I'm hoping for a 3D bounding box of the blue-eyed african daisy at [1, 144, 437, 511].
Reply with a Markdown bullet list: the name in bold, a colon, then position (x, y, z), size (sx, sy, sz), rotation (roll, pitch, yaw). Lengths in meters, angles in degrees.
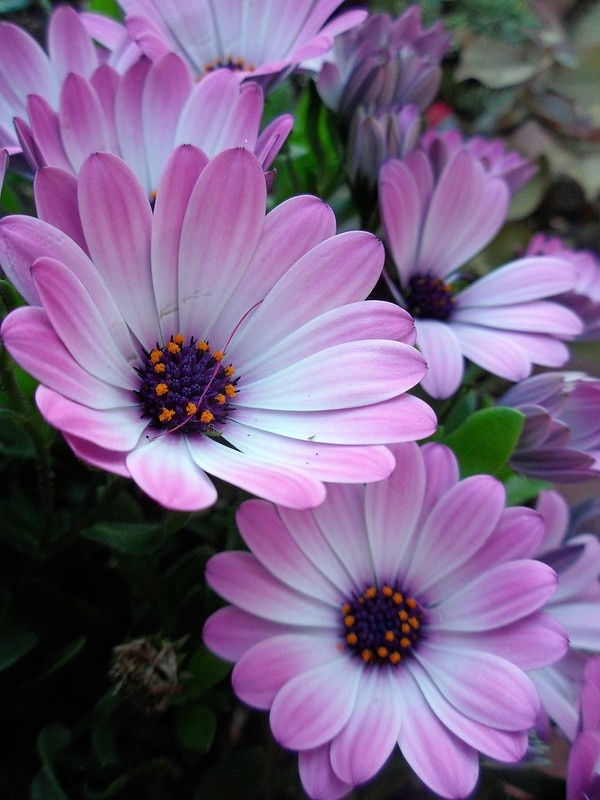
- **blue-eyed african daisy**: position (-0.066, -0.019, 0.458), size (0.091, 0.217, 0.211), rotation (-19, 20, 46)
